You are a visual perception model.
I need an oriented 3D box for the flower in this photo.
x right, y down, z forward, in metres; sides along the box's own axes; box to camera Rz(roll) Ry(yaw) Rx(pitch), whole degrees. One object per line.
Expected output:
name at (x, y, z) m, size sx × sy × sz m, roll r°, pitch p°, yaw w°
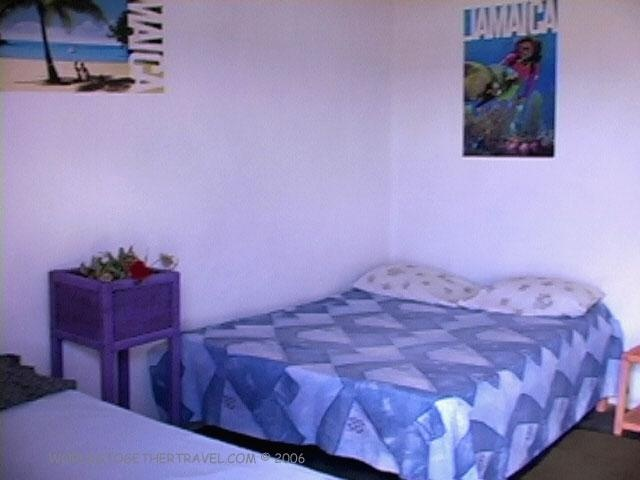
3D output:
flower at (-1.056, 0.137, 2.761) m, size 0.323 × 0.125 × 0.261 m, roll -5°, pitch 10°, yaw -11°

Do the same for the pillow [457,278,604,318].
pillow at (1.515, 0.410, 3.675) m, size 0.504 × 0.128 × 0.470 m, roll 0°, pitch 4°, yaw 39°
